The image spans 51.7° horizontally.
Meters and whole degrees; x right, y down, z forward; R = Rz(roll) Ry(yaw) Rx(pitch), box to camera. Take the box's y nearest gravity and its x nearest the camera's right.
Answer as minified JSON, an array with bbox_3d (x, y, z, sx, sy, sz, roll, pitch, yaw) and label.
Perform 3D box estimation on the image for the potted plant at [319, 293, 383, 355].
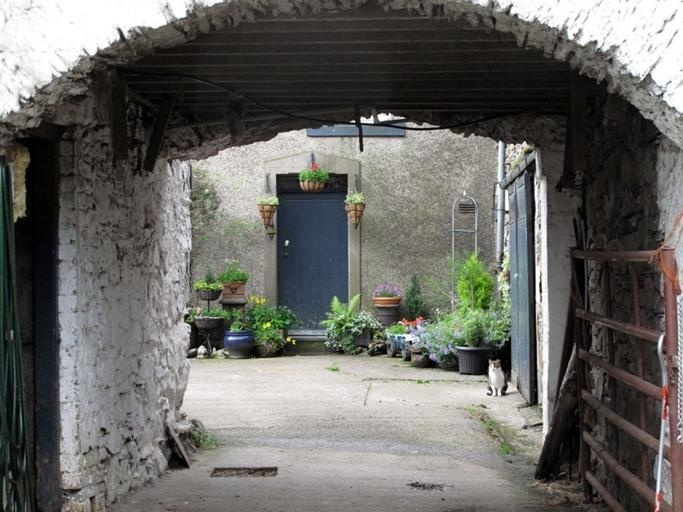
[{"bbox_3d":[0.208,1.002,11.104,0.777,0.796,0.898,2,-2,12],"label":"potted plant"}]

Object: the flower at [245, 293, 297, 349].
[{"bbox_3d":[-1.088,1.010,10.834,0.724,0.914,0.701,1,-9,-10],"label":"flower"}]

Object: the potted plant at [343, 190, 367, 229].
[{"bbox_3d":[0.207,-0.734,11.054,0.298,0.573,0.392,1,-1,8],"label":"potted plant"}]

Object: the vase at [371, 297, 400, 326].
[{"bbox_3d":[0.679,0.833,10.878,0.375,0.430,0.416,-1,-1,19],"label":"vase"}]

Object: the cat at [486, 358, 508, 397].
[{"bbox_3d":[1.730,1.352,7.814,0.228,0.390,0.276,1,-1,3],"label":"cat"}]

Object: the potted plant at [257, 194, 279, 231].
[{"bbox_3d":[-1.170,-0.628,10.934,0.247,0.420,0.263,-2,6,-45],"label":"potted plant"}]

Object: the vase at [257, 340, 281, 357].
[{"bbox_3d":[-1.115,1.409,10.653,0.361,0.246,0.214,2,-1,-15],"label":"vase"}]

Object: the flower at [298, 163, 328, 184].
[{"bbox_3d":[-0.455,-1.229,10.877,0.298,0.243,0.326,0,1,-15],"label":"flower"}]

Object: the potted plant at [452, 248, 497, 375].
[{"bbox_3d":[1.763,0.751,9.469,0.512,1.515,0.531,9,-10,-40],"label":"potted plant"}]
